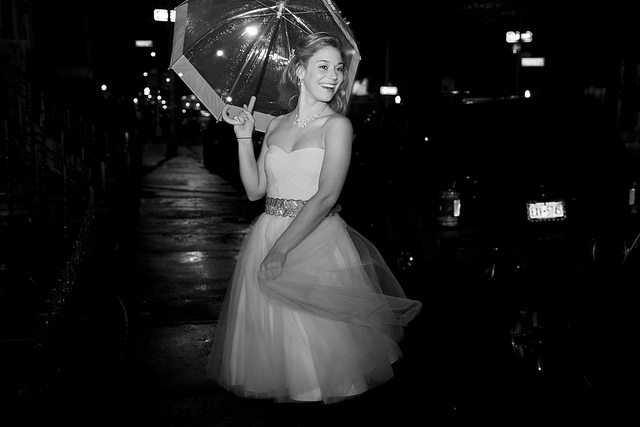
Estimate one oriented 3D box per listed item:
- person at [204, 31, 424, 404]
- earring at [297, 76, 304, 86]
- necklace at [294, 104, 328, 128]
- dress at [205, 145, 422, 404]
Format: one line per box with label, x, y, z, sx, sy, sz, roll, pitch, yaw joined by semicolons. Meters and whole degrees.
person;-0.068;0.029;4.523;1.376;2.681;0.667;1;10;8
earring;-0.138;-0.979;4.502;0.047;0.101;0.039;4;6;37
necklace;-0.070;-0.722;4.491;0.245;0.149;0.140;0;11;4
dress;-0.147;0.668;5.378;1.693;2.240;2.124;2;-5;-42
